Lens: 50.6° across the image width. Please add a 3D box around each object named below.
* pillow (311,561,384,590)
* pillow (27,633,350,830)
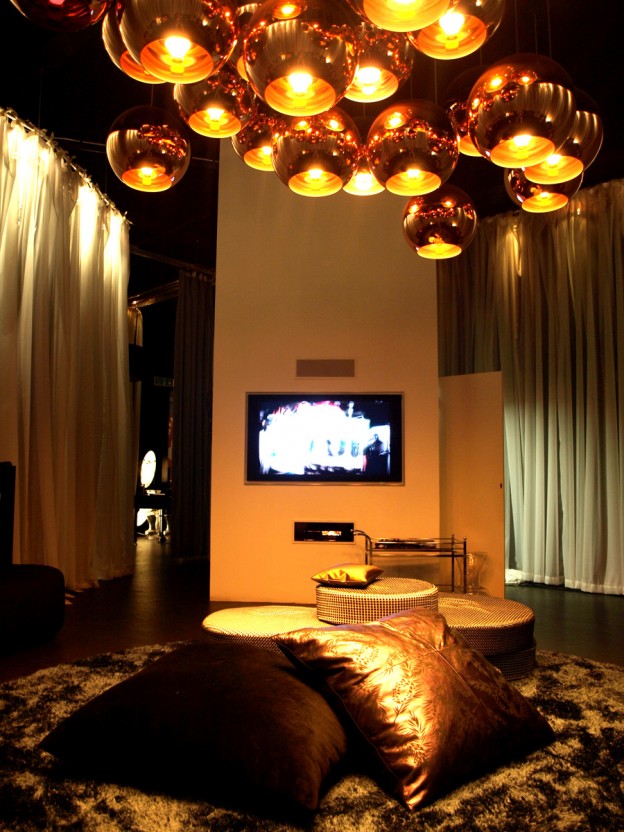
[{"bbox_3d":[0.195,0.822,3.372,0.370,0.107,0.250,3,-10,-7],"label":"pillow"},{"bbox_3d":[-0.230,0.702,1.493,0.678,0.224,0.308,-4,-11,29],"label":"pillow"}]
